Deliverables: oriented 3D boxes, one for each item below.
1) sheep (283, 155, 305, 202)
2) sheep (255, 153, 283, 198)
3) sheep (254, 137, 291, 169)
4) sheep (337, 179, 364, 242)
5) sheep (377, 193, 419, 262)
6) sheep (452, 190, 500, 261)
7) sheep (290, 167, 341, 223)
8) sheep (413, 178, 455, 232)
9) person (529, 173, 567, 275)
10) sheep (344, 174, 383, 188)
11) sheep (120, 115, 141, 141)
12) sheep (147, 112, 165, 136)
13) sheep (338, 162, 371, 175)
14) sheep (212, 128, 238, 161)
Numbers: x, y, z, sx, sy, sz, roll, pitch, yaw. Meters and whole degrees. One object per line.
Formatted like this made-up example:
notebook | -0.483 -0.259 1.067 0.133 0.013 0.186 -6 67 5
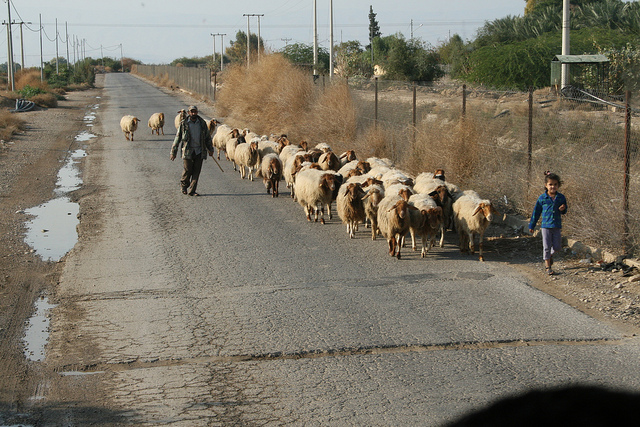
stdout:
sheep | -0.758 -1.141 18.112 0.429 0.895 1.517 10 -1 -14
sheep | -1.473 -1.151 18.921 0.609 1.189 2.052 -4 14 -14
sheep | -1.589 -1.887 20.752 1.534 0.822 0.422 -9 13 32
sheep | 0.685 -0.053 14.190 0.533 1.227 0.882 -2 11 -5
sheep | 1.537 0.266 13.054 0.533 1.165 1.074 -2 12 -8
sheep | 3.205 0.284 13.270 0.641 1.285 2.010 0 8 -3
sheep | -0.190 -0.488 15.988 0.871 1.234 2.356 -6 13 -26
sheep | 2.673 -0.126 14.507 0.648 1.039 1.999 4 -3 5
person | 4.364 0.172 12.115 0.553 1.773 0.856 -1 11 -1
sheep | 1.092 -0.778 15.201 0.386 0.303 0.597 -4 -2 -36
sheep | -8.741 -3.851 29.235 0.622 1.064 1.427 -5 12 -18
sheep | -8.115 -4.392 31.618 0.666 1.074 1.937 -4 12 -16
sheep | 0.917 -1.193 16.989 0.368 0.389 0.767 0 1 -38
sheep | -3.614 -2.654 24.887 0.788 1.292 2.100 -3 10 -31
